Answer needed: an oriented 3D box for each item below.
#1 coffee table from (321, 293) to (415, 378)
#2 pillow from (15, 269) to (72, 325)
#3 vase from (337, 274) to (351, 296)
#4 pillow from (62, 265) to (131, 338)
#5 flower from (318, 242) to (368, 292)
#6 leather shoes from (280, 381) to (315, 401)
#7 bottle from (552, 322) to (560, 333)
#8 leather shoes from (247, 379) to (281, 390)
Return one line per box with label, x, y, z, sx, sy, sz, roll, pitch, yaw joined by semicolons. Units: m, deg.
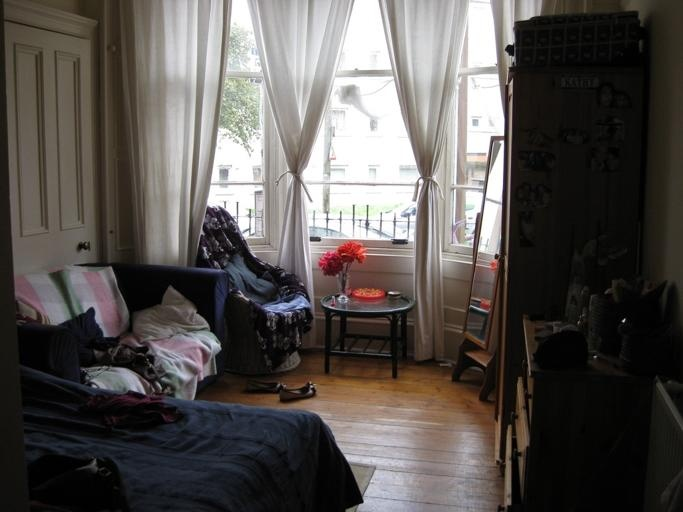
coffee table;0.219;0.612;4.506;0.723;0.601;0.718;3;12;8
pillow;-1.840;0.250;3.460;0.290;0.272;0.387;-6;14;-32
vase;0.018;0.233;4.571;0.129;0.247;0.144;1;1;3
pillow;-1.625;0.309;3.735;0.104;0.455;0.410;-21;-7;27
flower;0.029;0.081;4.521;0.310;0.357;0.324;5;-4;-19
leather shoes;-0.314;0.968;3.964;0.210;0.094;0.104;-8;10;-32
bottle;0.862;0.287;2.237;0.047;0.030;0.034;-16;9;-38
leather shoes;-0.566;0.922;4.077;0.232;0.081;0.104;-1;3;1
